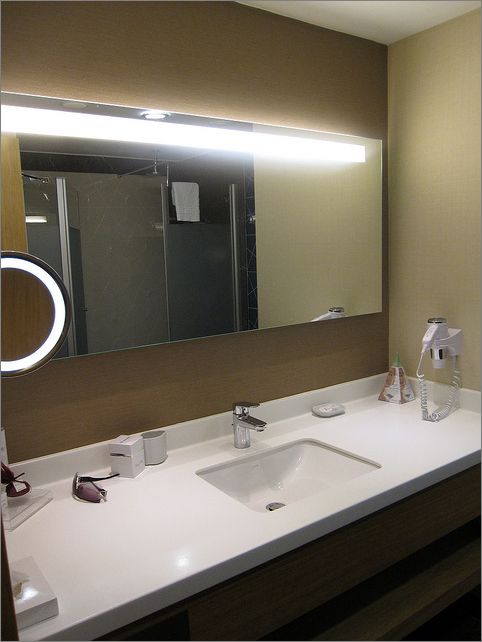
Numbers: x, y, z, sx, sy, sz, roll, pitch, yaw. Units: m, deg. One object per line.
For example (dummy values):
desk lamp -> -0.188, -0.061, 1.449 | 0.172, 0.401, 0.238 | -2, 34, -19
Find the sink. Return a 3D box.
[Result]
sink -> 0.101, 0.394, 1.566 | 0.515, 0.150, 0.425 | -7, 9, -31

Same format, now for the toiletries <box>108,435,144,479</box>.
toiletries -> -0.299, 0.357, 1.297 | 0.083, 0.098, 0.060 | 15, 17, 34

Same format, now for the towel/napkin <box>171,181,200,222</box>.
towel/napkin -> -0.161, -0.343, 1.404 | 0.109, 0.131, 0.015 | -10, 16, -37

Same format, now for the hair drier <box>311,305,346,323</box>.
hair drier -> 0.328, -0.030, 1.872 | 0.047, 0.062, 0.175 | 4, 16, 43

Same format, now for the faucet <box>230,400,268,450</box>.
faucet -> 0.008, 0.308, 1.473 | 0.059, 0.156, 0.204 | -1, -4, -26

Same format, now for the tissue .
tissue  -> -0.352, 0.443, 0.836 | 0.062, 0.036, 0.184 | -5, 7, -28
